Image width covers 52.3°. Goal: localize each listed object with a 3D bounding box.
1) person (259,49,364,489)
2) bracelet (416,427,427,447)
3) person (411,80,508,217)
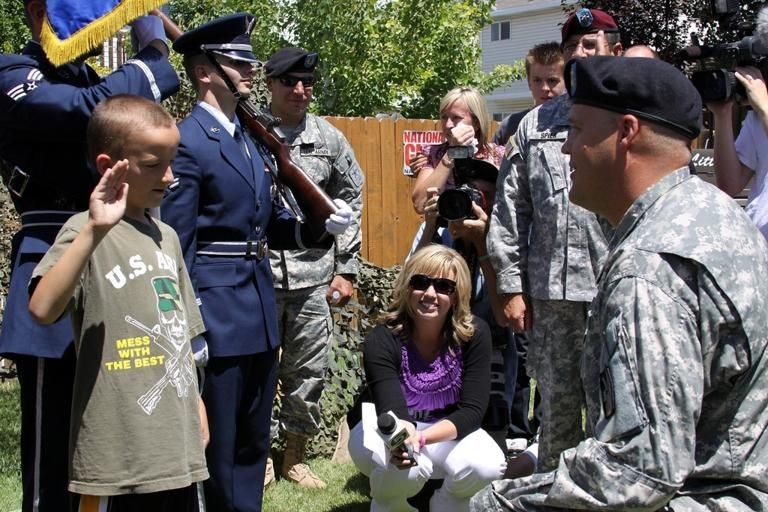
[{"bbox_3d":[-0.487,0.078,5.955,0.956,2.858,0.924,0,-3,-1],"label":"person"},{"bbox_3d":[0.219,1.057,4.528,0.072,0.078,0.086,-2,9,2],"label":"bracelet"},{"bbox_3d":[0.616,-0.715,5.739,0.518,1.060,0.830,3,1,-40],"label":"person"}]
